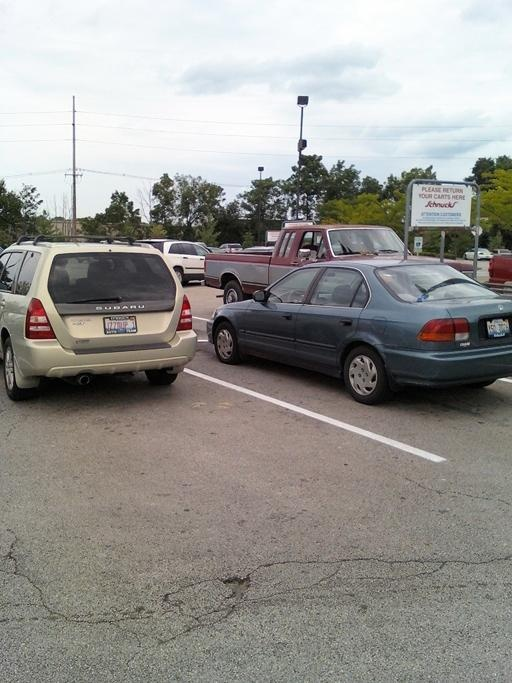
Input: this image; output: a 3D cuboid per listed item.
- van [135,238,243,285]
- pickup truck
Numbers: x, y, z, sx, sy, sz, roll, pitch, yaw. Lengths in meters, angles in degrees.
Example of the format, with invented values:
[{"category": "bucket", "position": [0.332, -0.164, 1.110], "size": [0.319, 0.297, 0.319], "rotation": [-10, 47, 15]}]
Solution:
[{"category": "van", "position": [-3.060, -3.931, 25.139], "size": [5.368, 2.252, 2.519], "rotation": [-8, 14, -33]}, {"category": "pickup truck", "position": [0.853, -1.980, 12.500], "size": [2.315, 1.591, 4.482], "rotation": [-7, 8, -38]}]
